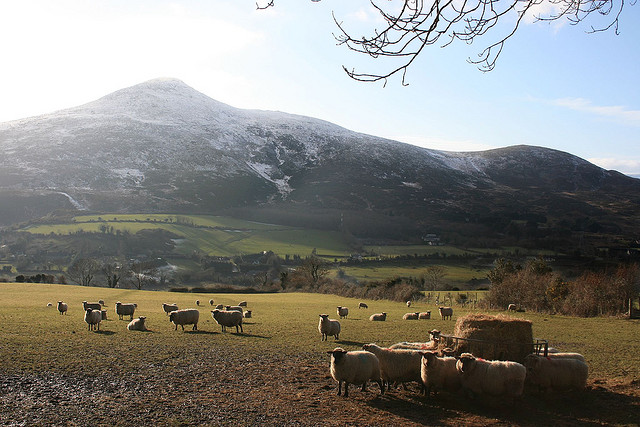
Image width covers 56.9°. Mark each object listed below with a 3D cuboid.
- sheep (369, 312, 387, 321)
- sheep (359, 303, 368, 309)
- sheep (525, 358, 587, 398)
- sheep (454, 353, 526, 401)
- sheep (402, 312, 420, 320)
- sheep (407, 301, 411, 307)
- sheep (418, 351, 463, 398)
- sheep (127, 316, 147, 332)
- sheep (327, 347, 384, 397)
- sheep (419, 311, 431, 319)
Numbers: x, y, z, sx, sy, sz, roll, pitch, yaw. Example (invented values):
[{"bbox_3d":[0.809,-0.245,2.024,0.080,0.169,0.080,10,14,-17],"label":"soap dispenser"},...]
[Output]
[{"bbox_3d":[6.771,12.272,69.246,1.862,0.828,1.666,-1,0,3],"label":"sheep"},{"bbox_3d":[6.470,13.788,87.793,1.400,0.587,1.010,-1,0,33],"label":"sheep"},{"bbox_3d":[18.904,13.275,47.792,5.482,2.649,1.744,6,-10,-9],"label":"sheep"},{"bbox_3d":[13.791,13.287,47.786,5.995,3.356,2.797,2,-5,10],"label":"sheep"},{"bbox_3d":[10.982,12.472,70.993,2.135,0.706,1.176,-1,0,-14],"label":"sheep"},{"bbox_3d":[13.562,14.102,90.858,0.561,0.676,0.276,4,-1,-26],"label":"sheep"},{"bbox_3d":[9.653,12.849,47.144,4.178,3.428,2.434,-1,1,5],"label":"sheep"},{"bbox_3d":[-18.187,11.222,59.703,2.269,1.200,1.458,-1,0,34],"label":"sheep"},{"bbox_3d":[2.575,13.018,47.979,2.908,3.478,5.919,-11,-19,38],"label":"sheep"},{"bbox_3d":[12.508,12.355,70.803,1.192,0.795,1.135,-1,0,17],"label":"sheep"}]
